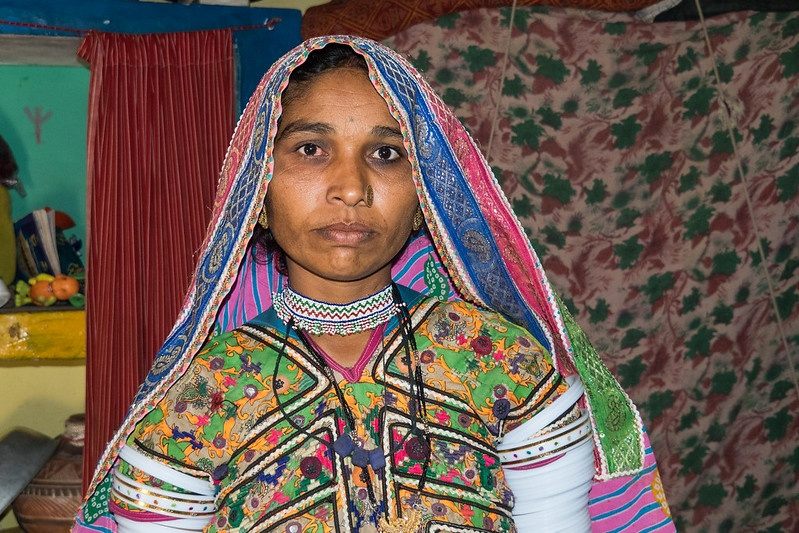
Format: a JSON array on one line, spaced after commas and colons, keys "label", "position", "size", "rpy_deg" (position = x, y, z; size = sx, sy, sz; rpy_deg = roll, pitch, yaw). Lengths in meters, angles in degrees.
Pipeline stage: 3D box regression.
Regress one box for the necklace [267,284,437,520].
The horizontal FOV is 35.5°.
[{"label": "necklace", "position": [-0.159, 0.570, 5.404], "size": [0.609, 0.963, 0.245], "rpy_deg": [-17, -8, -8]}]
